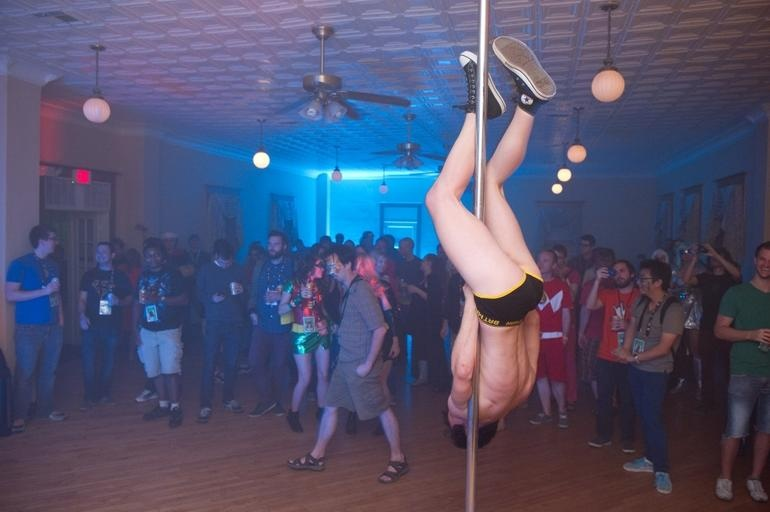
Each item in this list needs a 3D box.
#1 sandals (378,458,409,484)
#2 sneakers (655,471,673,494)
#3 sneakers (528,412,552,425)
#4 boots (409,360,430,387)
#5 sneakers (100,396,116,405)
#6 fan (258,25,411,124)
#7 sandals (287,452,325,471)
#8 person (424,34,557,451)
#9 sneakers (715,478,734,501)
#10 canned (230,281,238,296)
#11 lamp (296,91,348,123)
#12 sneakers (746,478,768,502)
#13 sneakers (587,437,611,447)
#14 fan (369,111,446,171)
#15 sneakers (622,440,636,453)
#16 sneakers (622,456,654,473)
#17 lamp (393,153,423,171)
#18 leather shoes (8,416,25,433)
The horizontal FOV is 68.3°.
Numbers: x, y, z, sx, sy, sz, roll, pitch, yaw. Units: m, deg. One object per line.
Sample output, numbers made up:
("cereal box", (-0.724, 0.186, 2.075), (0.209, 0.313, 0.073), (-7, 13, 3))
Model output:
("sandals", (0.078, 2.328, 6.139), (0.151, 0.139, 0.335), (-7, -8, 36))
("sneakers", (2.991, 2.436, 6.092), (0.117, 0.108, 0.258), (-1, -3, 13))
("sneakers", (2.037, 2.141, 7.473), (0.288, 0.126, 0.125), (-1, -2, 1))
("boots", (0.563, 1.820, 8.849), (0.410, 0.502, 0.229), (3, 0, 0))
("sneakers", (-3.840, 2.004, 7.840), (0.119, 0.042, 0.130), (10, 4, 44))
("fan", (-0.742, -2.312, 7.439), (1.289, 1.106, 1.649), (-3, 14, -16))
("sandals", (-0.865, 2.277, 6.309), (0.347, 0.151, 0.190), (4, -7, 4))
("person", (0.713, -0.013, 3.775), (0.802, 2.776, 0.575), (-7, 15, -30))
("sneakers", (3.576, 2.468, 5.995), (0.138, 0.098, 0.238), (-6, 7, 17))
("canned", (-1.969, 0.438, 7.434), (0.131, 0.152, 0.133), (-2, -10, 7))
("lamp", (-0.751, -1.767, 7.071), (0.377, 0.198, 0.356), (-5, -8, 43))
("sneakers", (3.939, 2.475, 6.027), (0.143, 0.259, 0.106), (-11, -44, 16))
("sneakers", (2.582, 2.256, 6.865), (0.255, 0.104, 0.103), (-1, 26, 9))
("fan", (0.422, -2.013, 10.074), (1.341, 0.963, 1.253), (-3, 9, -32))
("sneakers", (2.874, 2.268, 6.718), (0.073, 0.089, 0.203), (-2, -15, 13))
("sneakers", (2.862, 2.373, 6.475), (0.337, 0.144, 0.138), (3, 1, 11))
("lamp", (0.400, -1.656, 10.032), (0.477, 0.265, 0.319), (12, 17, 39))
("leather shoes", (-4.528, 2.094, 6.999), (0.148, 0.111, 0.114), (-1, -4, 1))
